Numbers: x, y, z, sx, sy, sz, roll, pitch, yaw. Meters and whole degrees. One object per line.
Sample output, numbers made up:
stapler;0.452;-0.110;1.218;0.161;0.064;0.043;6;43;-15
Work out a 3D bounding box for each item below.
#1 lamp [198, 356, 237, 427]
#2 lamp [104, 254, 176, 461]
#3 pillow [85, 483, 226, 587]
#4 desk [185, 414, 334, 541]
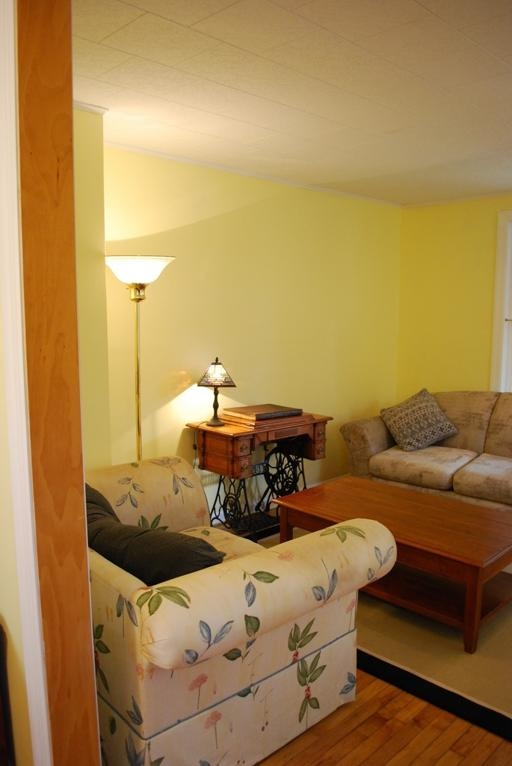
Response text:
lamp;-0.246;0.045;3.421;0.211;0.398;0.405;0;3;-6
lamp;-0.605;-0.108;2.896;0.308;1.061;0.572;-1;3;-16
pillow;-0.350;0.380;1.635;0.183;0.235;0.610;-6;2;-34
desk;0.040;0.595;3.596;0.434;0.809;0.866;15;15;42
